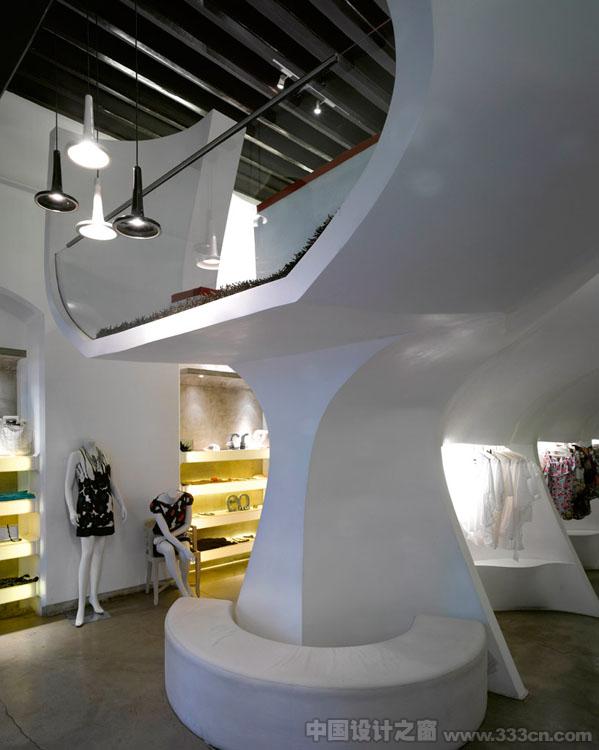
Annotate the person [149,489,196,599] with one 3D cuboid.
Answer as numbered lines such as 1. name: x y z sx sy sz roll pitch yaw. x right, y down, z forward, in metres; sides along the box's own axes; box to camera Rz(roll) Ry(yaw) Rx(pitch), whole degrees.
1. person: -1.421 1.858 5.431 0.465 1.122 0.733 3 -11 -16

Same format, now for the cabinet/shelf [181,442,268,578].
1. cabinet/shelf: -1.043 1.755 6.374 0.430 1.633 1.354 -7 -9 43

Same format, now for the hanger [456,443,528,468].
1. hanger: 1.939 0.801 4.947 0.654 0.235 0.250 -6 -13 21

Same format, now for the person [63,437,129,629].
1. person: -2.205 1.603 5.164 0.599 1.819 0.591 8 -12 -40

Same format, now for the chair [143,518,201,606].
1. chair: -1.527 2.067 5.758 0.712 1.382 0.728 5 -13 -34

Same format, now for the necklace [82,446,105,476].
1. necklace: -2.216 0.915 5.206 0.153 0.398 0.241 -3 -5 29
